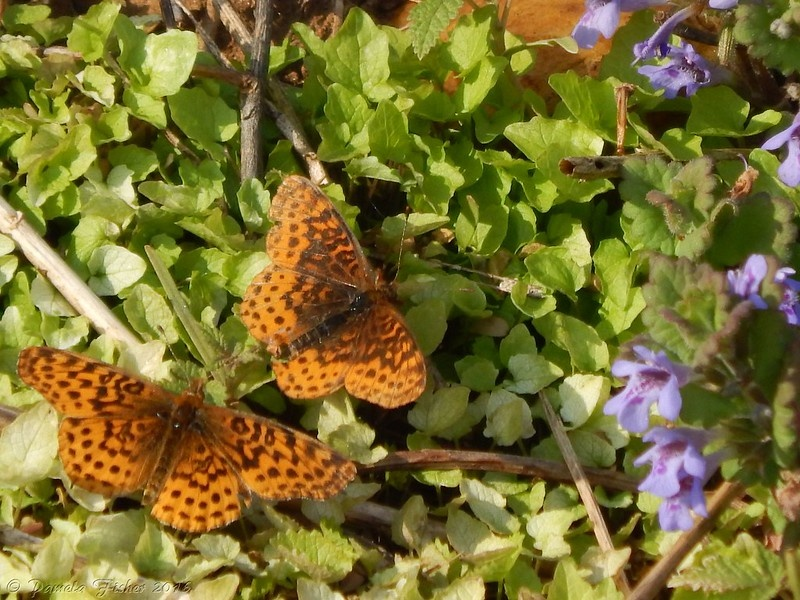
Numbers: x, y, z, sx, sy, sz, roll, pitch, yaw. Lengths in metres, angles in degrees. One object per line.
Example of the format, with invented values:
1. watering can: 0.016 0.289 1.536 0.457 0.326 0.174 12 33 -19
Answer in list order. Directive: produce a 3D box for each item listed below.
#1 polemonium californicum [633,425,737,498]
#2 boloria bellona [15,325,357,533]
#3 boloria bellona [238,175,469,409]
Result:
1. polemonium californicum: 0.559 0.336 1.791 0.171 0.194 0.067 0 103 21
2. boloria bellona: -0.506 0.340 1.911 0.776 0.242 0.330 31 62 3
3. boloria bellona: -0.135 -0.014 2.122 0.358 0.421 0.667 11 68 -22
